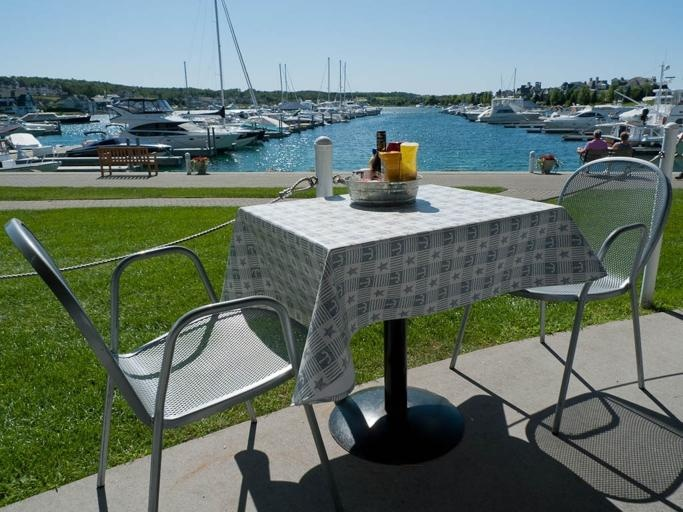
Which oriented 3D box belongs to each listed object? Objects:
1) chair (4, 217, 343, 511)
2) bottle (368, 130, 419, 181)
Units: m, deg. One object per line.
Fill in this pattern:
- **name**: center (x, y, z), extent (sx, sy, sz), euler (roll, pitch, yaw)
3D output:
- **chair**: center (-0.762, 0.462, 2.456), extent (1.103, 1.399, 0.883), euler (-13, 23, -27)
- **bottle**: center (0.366, -0.549, 2.938), extent (0.350, 0.327, 0.269), euler (-1, 8, -17)
